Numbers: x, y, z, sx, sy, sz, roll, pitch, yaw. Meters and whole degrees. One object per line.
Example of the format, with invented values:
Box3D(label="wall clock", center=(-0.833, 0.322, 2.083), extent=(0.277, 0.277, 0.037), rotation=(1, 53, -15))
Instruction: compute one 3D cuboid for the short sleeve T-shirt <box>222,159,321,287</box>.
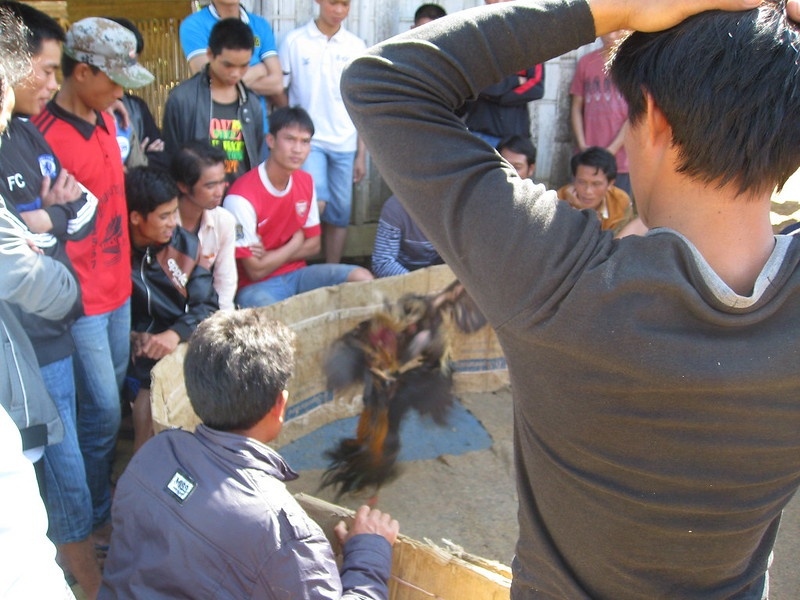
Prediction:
Box3D(label="short sleeve T-shirt", center=(-0.688, -0.400, 4.056), extent=(0.296, 0.567, 0.495), rotation=(35, 33, 30))

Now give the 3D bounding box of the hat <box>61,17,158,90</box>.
Box3D(label="hat", center=(-1.112, -0.955, 2.984), extent=(0.317, 0.177, 0.235), rotation=(26, 31, -8))

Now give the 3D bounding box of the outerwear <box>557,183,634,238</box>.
Box3D(label="outerwear", center=(1.243, -0.556, 4.800), extent=(0.643, 0.352, 0.894), rotation=(1, 7, 10))

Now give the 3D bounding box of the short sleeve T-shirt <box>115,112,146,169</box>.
Box3D(label="short sleeve T-shirt", center=(-1.257, -0.731, 3.644), extent=(0.161, 0.246, 0.081), rotation=(-7, 0, -20))

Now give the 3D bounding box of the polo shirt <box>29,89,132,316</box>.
Box3D(label="polo shirt", center=(-1.129, -0.337, 2.731), extent=(0.258, 0.818, 0.443), rotation=(13, 32, 6))

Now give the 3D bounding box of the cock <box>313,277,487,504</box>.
Box3D(label="cock", center=(-0.008, 0.270, 3.298), extent=(0.512, 0.955, 0.392), rotation=(25, 1, 0))
